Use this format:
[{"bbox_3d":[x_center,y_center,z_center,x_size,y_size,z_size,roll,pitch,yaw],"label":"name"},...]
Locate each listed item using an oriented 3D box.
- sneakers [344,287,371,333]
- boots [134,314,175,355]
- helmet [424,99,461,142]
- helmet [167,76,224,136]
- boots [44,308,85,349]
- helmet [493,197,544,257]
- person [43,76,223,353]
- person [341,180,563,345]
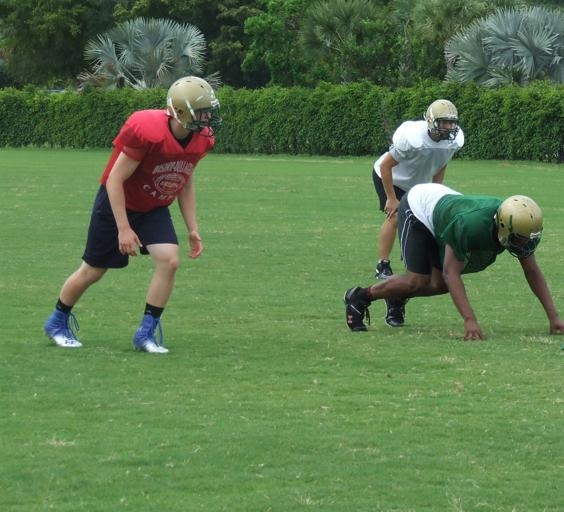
[{"bbox_3d":[0.634,0.427,9.259,0.210,0.415,0.150,-6,-1,43],"label":"sneakers"},{"bbox_3d":[-0.978,0.594,8.536,0.320,0.289,0.151,27,18,21],"label":"boots"},{"bbox_3d":[1.425,-1.213,10.117,0.311,0.375,0.264,3,13,13],"label":"helmet"},{"bbox_3d":[-0.654,-1.121,8.340,0.403,0.395,0.348,-6,14,-23],"label":"helmet"},{"bbox_3d":[-1.648,0.542,8.627,0.428,0.272,0.162,21,16,39],"label":"boots"},{"bbox_3d":[1.736,-0.200,8.291,0.324,0.478,0.295,2,13,9],"label":"helmet"},{"bbox_3d":[-1.092,-0.323,8.507,1.267,2.032,0.686,-1,13,-4],"label":"person"},{"bbox_3d":[1.675,-0.015,9.040,0.946,1.210,2.004,-3,2,-41],"label":"person"}]
